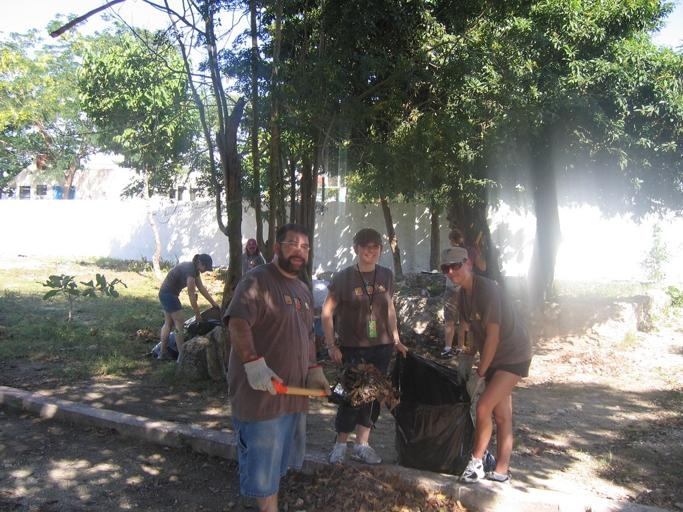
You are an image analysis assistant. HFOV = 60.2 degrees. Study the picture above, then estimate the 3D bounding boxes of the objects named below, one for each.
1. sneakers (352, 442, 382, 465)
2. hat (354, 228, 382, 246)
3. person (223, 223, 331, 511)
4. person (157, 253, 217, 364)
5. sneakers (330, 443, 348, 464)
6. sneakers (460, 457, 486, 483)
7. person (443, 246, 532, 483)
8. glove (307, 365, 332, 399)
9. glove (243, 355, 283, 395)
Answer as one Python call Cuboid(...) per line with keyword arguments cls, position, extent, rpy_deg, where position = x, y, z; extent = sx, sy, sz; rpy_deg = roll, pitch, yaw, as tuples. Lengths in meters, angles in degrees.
Cuboid(cls="sneakers", position=(0.314, 2.301, 6.882), extent=(0.299, 0.183, 0.177), rpy_deg=(3, 6, 29))
Cuboid(cls="hat", position=(0.343, -0.259, 7.094), extent=(0.214, 0.172, 0.230), rpy_deg=(3, 5, 33))
Cuboid(cls="person", position=(-0.669, 1.236, 5.921), extent=(0.933, 3.072, 0.556), rpy_deg=(-4, 9, -35))
Cuboid(cls="person", position=(-2.756, 0.905, 10.571), extent=(0.839, 2.108, 0.780), rpy_deg=(8, 10, 0))
Cuboid(cls="sneakers", position=(-0.038, 2.275, 6.752), extent=(0.182, 0.204, 0.187), rpy_deg=(1, 7, -5))
Cuboid(cls="sneakers", position=(1.470, 2.394, 6.553), extent=(0.130, 0.198, 0.392), rpy_deg=(-2, -9, 27))
Cuboid(cls="person", position=(1.677, 1.246, 6.819), extent=(0.885, 2.641, 0.895), rpy_deg=(6, 9, 36))
Cuboid(cls="glove", position=(-0.246, 1.321, 5.990), extent=(0.192, 0.341, 0.111), rpy_deg=(-3, 8, 32))
Cuboid(cls="glove", position=(-0.755, 1.181, 5.647), extent=(0.277, 0.391, 0.172), rpy_deg=(-32, -3, 9))
